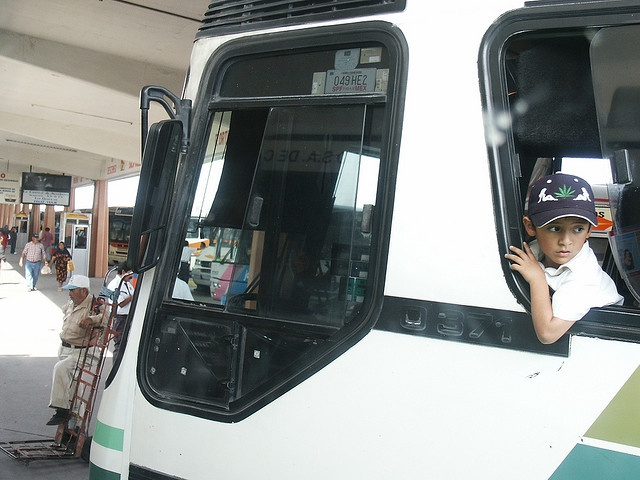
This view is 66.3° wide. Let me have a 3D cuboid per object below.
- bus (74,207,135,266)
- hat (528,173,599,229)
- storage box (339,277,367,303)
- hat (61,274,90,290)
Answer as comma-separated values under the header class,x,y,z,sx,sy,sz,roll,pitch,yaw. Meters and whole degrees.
class,x,y,z,sx,sy,sz,roll,pitch,yaw
bus,-9.762,-0.139,21.902,2.344,3.209,6.600,1,-5,-19
hat,0.962,-0.156,1.965,0.183,0.161,0.263,0,-4,19
storage box,0.158,0.231,2.332,0.109,0.116,0.117,3,-5,14
hat,-3.440,0.543,6.779,0.381,0.219,0.293,5,0,8
